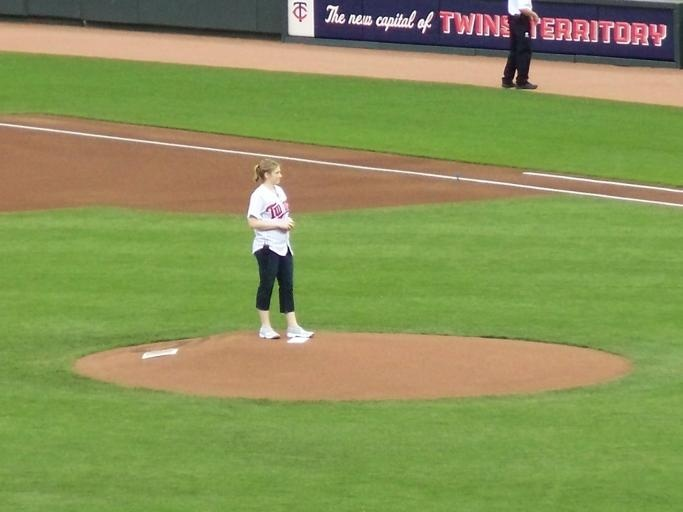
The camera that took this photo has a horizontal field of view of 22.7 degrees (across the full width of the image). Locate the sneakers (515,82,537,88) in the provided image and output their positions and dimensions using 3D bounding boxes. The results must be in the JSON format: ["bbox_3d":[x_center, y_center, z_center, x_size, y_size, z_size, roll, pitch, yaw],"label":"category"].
[{"bbox_3d":[3.652,-3.383,33.657,0.454,0.192,0.156,2,17,10],"label":"sneakers"}]

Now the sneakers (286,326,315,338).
[{"bbox_3d":[-0.553,0.997,22.722,0.347,0.149,0.142,0,3,-3],"label":"sneakers"}]

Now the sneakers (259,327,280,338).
[{"bbox_3d":[-0.953,1.005,22.650,0.242,0.099,0.132,1,3,42],"label":"sneakers"}]

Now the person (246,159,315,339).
[{"bbox_3d":[-0.864,-0.102,22.552,0.725,2.352,0.426,0,12,-4],"label":"person"}]
